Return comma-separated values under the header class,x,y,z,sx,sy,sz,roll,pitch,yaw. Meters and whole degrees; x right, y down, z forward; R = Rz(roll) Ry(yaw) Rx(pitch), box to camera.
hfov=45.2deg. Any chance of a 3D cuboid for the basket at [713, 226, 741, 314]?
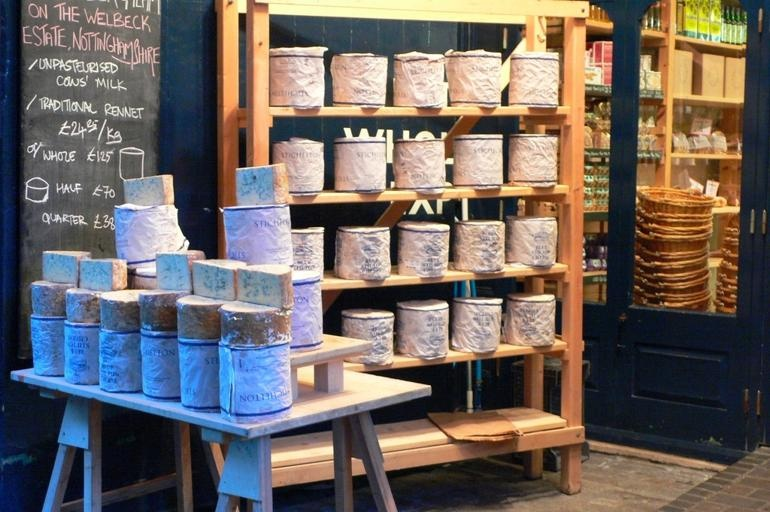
class,x,y,z,sx,sy,sz,roll,pitch,yaw
basket,2.086,0.056,5.653,0.064,0.572,0.157,-6,8,-36
